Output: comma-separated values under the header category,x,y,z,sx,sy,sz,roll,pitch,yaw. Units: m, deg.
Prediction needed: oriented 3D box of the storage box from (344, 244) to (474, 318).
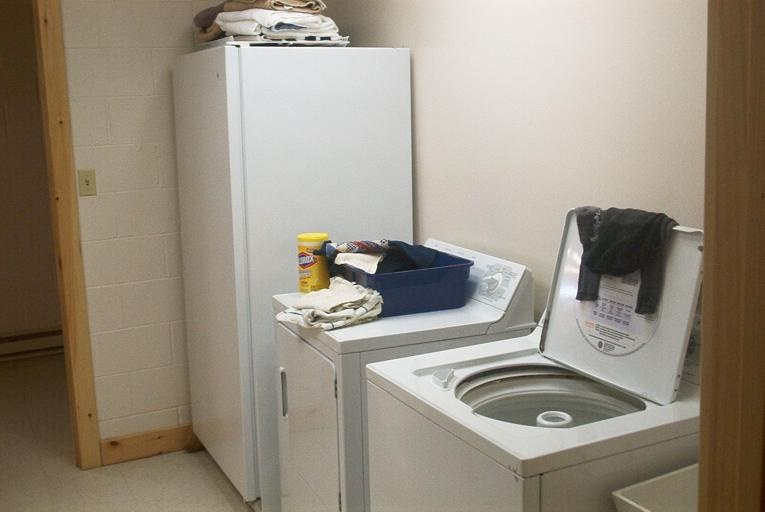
category,x,y,z,sx,sy,sz,roll,pitch,yaw
storage box,0.138,0.095,2.421,0.387,0.135,0.303,-2,7,-16
